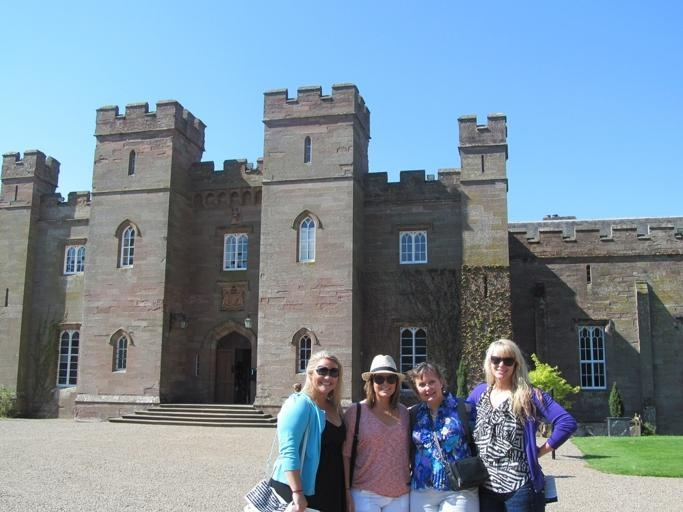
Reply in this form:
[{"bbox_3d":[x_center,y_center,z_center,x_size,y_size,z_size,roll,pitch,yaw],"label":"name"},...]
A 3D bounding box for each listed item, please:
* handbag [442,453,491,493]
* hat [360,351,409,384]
[{"bbox_3d":[1.465,2.561,8.109,0.527,0.358,0.373,-4,-42,-19],"label":"handbag"},{"bbox_3d":[0.517,1.389,8.712,0.528,0.220,0.576,0,-18,-1],"label":"hat"}]
